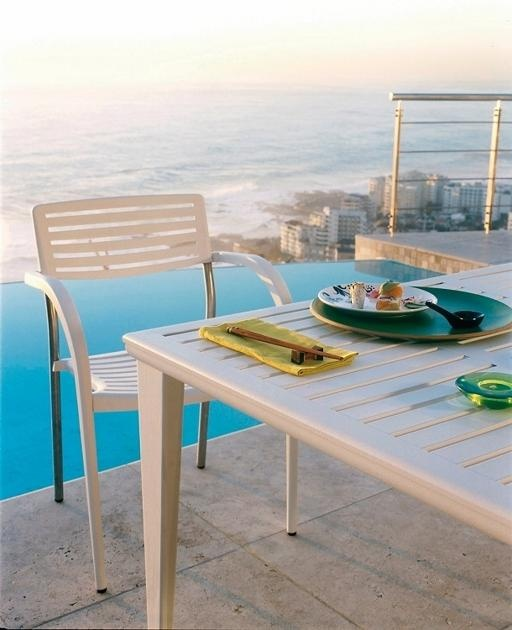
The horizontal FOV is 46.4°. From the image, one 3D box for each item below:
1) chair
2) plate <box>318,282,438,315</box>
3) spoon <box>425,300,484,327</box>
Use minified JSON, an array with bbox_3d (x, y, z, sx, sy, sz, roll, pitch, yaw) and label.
[{"bbox_3d":[-0.229,0.074,1.358,0.586,0.821,0.556,-16,25,-38],"label":"chair"},{"bbox_3d":[0.176,-0.023,0.867,0.127,0.025,0.106,-7,14,-31],"label":"plate"},{"bbox_3d":[0.268,-0.005,0.809,0.065,0.020,0.033,14,19,32],"label":"spoon"}]
